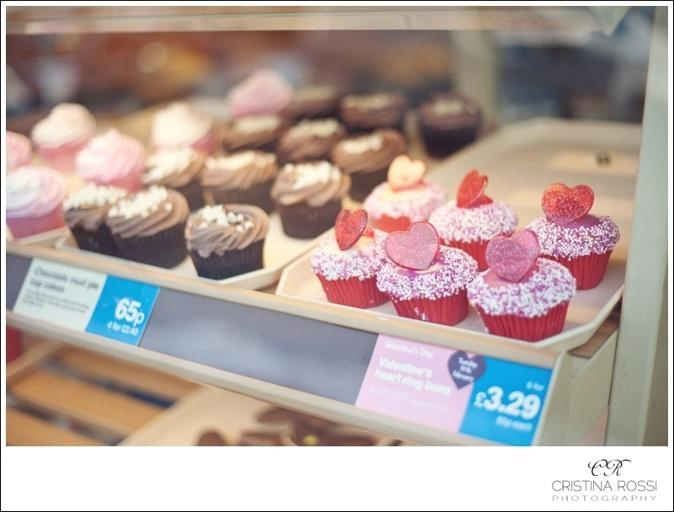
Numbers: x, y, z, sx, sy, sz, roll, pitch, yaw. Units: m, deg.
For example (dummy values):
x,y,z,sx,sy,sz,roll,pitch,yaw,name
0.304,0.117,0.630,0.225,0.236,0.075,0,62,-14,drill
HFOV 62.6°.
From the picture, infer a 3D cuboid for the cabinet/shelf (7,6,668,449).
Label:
x,y,z,sx,sy,sz,roll,pitch,yaw,name
-0.082,-0.073,1.379,0.950,0.625,0.603,14,40,27,cabinet/shelf
